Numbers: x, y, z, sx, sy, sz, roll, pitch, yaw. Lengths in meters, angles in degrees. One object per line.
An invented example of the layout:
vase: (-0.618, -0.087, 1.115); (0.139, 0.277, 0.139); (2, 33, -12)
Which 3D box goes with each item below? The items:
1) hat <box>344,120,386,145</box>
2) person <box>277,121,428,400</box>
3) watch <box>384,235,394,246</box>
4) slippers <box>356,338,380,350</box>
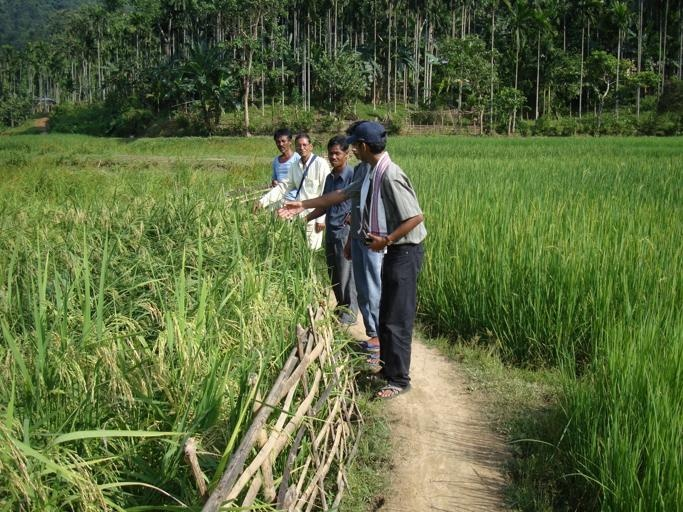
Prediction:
hat: (0.201, -1.008, 5.160); (0.305, 0.203, 0.415); (0, 9, 0)
person: (0.283, 0.000, 5.269); (0.530, 2.207, 0.939); (-6, 10, -35)
watch: (0.370, -0.127, 4.914); (0.057, 0.076, 0.077); (0, 9, 3)
slippers: (0.251, 0.817, 5.879); (0.170, 0.072, 0.096); (1, 5, -16)
